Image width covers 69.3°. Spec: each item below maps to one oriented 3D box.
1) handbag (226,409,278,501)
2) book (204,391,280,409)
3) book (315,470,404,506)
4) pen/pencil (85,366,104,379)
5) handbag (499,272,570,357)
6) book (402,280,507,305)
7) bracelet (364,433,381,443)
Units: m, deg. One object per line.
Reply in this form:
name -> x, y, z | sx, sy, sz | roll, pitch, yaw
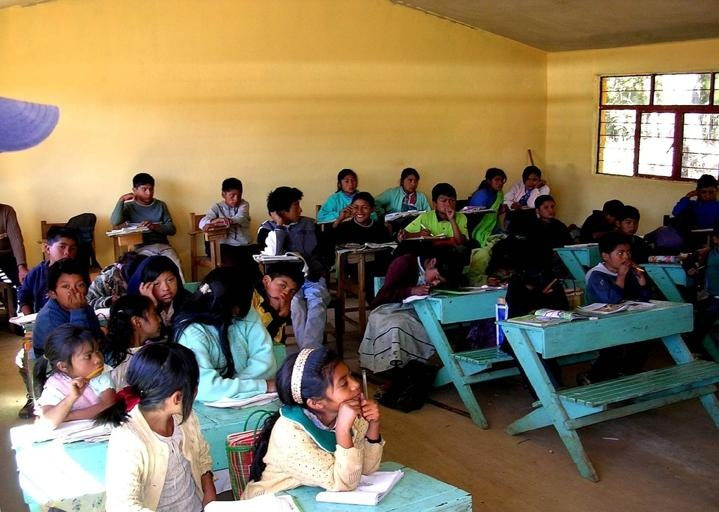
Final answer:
handbag -> -0.431, 0.836, 2.188 | 0.263, 0.315, 0.116 | 5, 12, -31
book -> -0.629, 0.749, 2.707 | 0.279, 0.074, 0.250 | -4, -3, -31
book -> 0.008, 0.835, 1.906 | 0.216, 0.043, 0.290 | 3, 10, 28
pen/pencil -> -1.261, 0.558, 2.494 | 0.108, 0.022, 0.028 | -38, 38, 2
handbag -> 1.225, 0.420, 3.665 | 0.691, 0.600, 0.367 | -3, 3, 7
book -> 0.855, 0.278, 4.188 | 0.336, 0.077, 0.343 | -9, 10, -30
bracelet -> 0.056, 0.714, 2.054 | 0.053, 0.022, 0.030 | -5, 8, 2
